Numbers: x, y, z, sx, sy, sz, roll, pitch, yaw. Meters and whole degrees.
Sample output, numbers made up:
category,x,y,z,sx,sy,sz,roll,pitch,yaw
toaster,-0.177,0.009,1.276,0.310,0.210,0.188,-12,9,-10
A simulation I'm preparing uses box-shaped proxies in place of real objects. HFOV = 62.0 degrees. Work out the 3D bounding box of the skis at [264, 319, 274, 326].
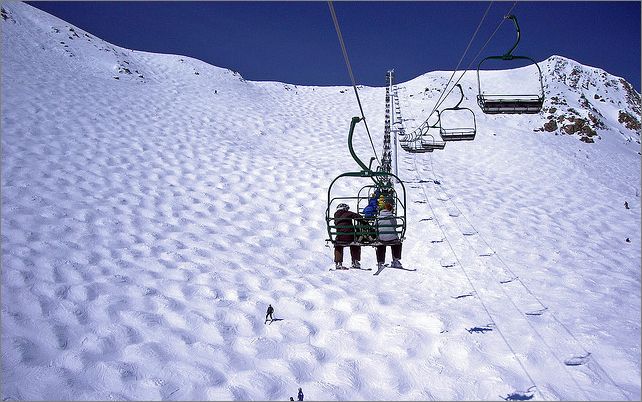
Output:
category,x,y,z,sx,sy,sz,roll,pitch,yaw
skis,-1.676,3.863,17.024,0.174,0.163,0.055,8,109,40

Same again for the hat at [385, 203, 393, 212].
category,x,y,z,sx,sy,sz,roll,pitch,yaw
hat,2.268,0.228,17.930,0.073,0.282,0.232,-24,64,51

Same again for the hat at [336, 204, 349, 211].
category,x,y,z,sx,sy,sz,roll,pitch,yaw
hat,0.729,0.208,17.945,0.312,0.221,0.236,-6,86,30
